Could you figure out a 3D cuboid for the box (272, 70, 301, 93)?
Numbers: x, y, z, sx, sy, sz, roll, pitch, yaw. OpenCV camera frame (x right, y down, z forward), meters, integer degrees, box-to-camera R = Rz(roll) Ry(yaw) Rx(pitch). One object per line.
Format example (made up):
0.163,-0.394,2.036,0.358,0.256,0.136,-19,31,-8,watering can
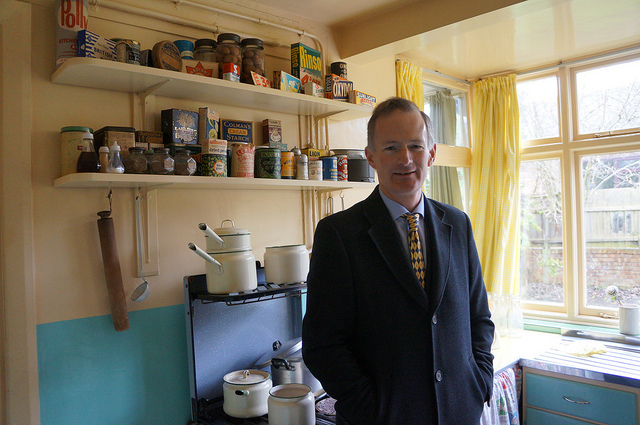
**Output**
-0.188,-0.727,2.625,0.062,0.165,0.180,3,4,40,box

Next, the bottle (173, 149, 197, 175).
-0.663,-0.245,2.304,0.118,0.120,0.125,5,6,26,bottle

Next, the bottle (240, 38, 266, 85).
-0.367,-0.806,2.545,0.115,0.262,0.176,-1,3,15,bottle

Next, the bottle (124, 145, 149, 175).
-0.844,-0.239,2.183,0.120,0.134,0.126,0,-1,-23,bottle

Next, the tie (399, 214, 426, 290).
0.400,0.145,1.952,0.089,0.266,0.028,-4,-13,3,tie

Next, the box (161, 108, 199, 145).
-0.723,-0.440,2.417,0.145,0.164,0.191,6,6,22,box

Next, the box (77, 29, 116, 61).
-1.015,-0.761,2.148,0.164,0.136,0.114,-2,3,-21,box

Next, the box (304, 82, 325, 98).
-0.040,-0.702,2.688,0.042,0.113,0.133,-6,-4,37,box

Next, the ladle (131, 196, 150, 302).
-0.898,0.182,2.357,0.092,0.524,0.128,-3,5,-34,ladle

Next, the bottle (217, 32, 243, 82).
-0.481,-0.820,2.521,0.148,0.240,0.144,-1,-7,0,bottle

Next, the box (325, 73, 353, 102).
0.115,-0.740,2.838,0.064,0.156,0.182,3,7,42,box

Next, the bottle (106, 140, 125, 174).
-0.926,-0.254,2.141,0.075,0.154,0.132,-2,3,-24,bottle

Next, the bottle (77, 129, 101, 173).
-1.050,-0.283,2.150,0.094,0.202,0.183,-3,3,-26,bottle

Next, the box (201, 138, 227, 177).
-0.537,-0.266,2.381,0.119,0.204,0.120,-1,3,-34,box

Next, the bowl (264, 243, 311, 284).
-0.158,0.263,2.519,0.213,0.176,0.216,-2,-5,0,bowl

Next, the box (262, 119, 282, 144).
-0.263,-0.472,2.739,0.131,0.139,0.111,-3,3,-27,box

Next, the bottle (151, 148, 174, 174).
-0.749,-0.248,2.256,0.120,0.116,0.112,-3,4,5,bottle
